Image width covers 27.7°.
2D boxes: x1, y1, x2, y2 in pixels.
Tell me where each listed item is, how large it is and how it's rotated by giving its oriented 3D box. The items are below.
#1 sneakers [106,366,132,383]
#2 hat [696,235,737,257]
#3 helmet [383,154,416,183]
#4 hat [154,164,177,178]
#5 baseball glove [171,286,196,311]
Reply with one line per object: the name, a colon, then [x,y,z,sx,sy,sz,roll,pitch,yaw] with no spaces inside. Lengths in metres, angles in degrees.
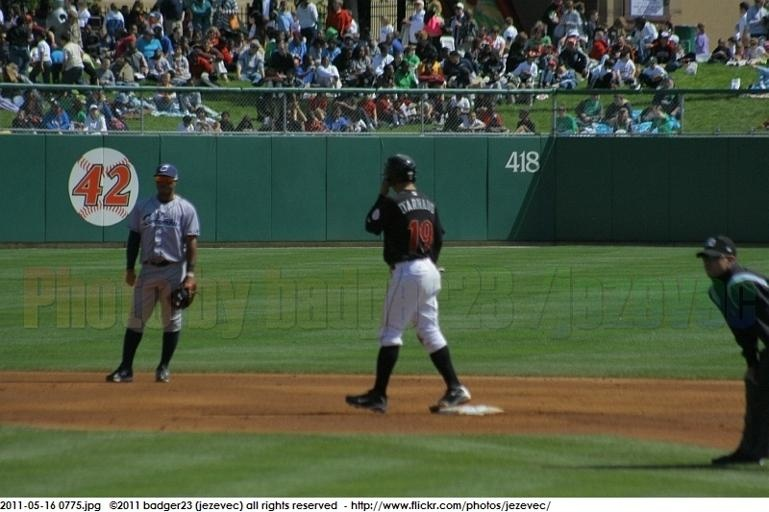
sneakers: [-4.910,2.211,29.051,0.477,0.295,0.245,3,-3,-1]
hat: [5.809,-0.154,26.964,0.553,0.303,0.387,5,0,1]
helmet: [0.290,-1.601,28.124,0.445,0.460,0.530,0,24,-16]
hat: [-4.004,-1.630,29.036,0.361,0.285,0.496,7,-6,0]
baseball glove: [-3.717,0.775,28.989,0.438,0.407,0.349,3,-5,3]
